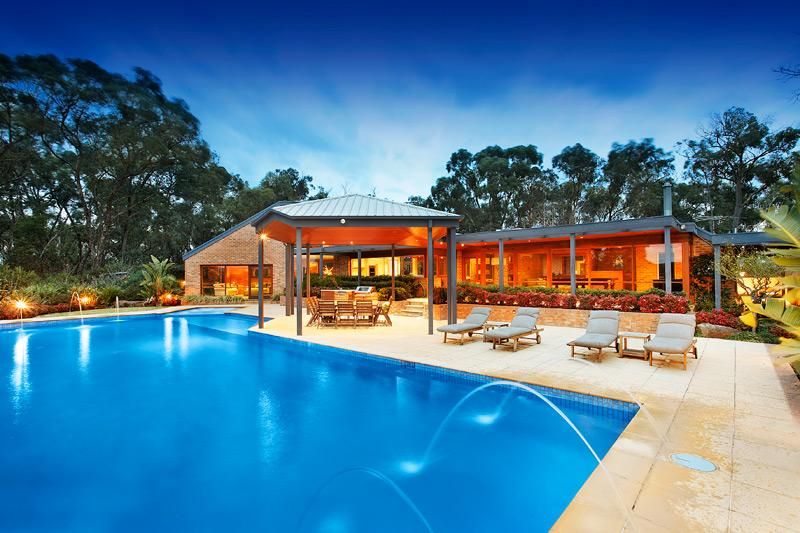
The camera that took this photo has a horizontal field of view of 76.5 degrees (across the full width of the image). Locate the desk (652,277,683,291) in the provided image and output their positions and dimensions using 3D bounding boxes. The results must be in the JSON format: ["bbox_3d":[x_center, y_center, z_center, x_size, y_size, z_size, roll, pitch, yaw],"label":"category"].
[{"bbox_3d":[15.167,1.000,28.845,1.476,0.621,0.922,-1,-2,32],"label":"desk"}]

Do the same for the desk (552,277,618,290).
[{"bbox_3d":[11.145,1.020,31.147,1.550,0.575,3.736,1,-2,-29],"label":"desk"}]
